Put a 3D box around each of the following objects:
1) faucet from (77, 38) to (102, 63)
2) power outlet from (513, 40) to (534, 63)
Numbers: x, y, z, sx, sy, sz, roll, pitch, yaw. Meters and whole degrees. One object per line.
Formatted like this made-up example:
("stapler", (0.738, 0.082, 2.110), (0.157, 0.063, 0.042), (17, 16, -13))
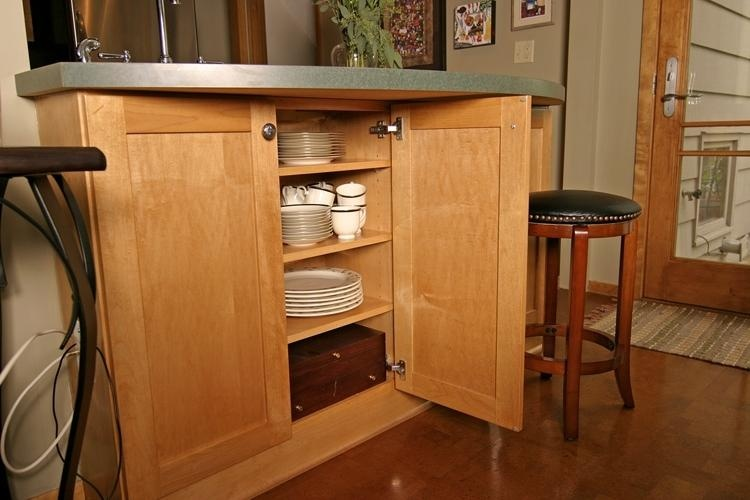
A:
("faucet", (-0.960, -0.667, 1.920), (0.065, 0.073, 0.139), (-10, 18, -24))
("power outlet", (1.009, -1.343, 3.885), (0.165, 0.154, 0.018), (7, 14, 41))
